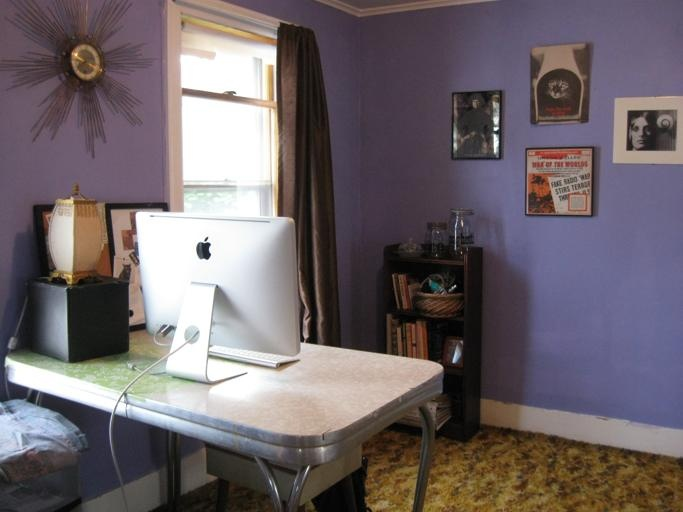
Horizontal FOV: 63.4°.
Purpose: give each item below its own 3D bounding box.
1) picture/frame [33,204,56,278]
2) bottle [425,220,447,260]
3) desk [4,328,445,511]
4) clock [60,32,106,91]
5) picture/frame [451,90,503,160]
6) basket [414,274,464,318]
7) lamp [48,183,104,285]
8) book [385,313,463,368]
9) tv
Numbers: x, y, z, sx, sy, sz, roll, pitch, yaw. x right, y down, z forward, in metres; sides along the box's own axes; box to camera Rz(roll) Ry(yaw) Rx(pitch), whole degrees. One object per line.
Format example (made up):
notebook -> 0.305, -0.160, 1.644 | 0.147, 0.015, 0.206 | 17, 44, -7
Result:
picture/frame -> -1.450, -0.102, 2.682 | 0.016, 0.307, 0.224 | -12, 0, -11
bottle -> 0.701, -0.126, 4.024 | 0.173, 0.238, 0.144 | -1, 12, -8
desk -> -0.443, 0.764, 2.329 | 1.607, 0.639, 0.798 | 5, 12, 18
clock -> -1.310, -0.964, 2.751 | 0.036, 0.238, 0.243 | -8, -30, 35
picture/frame -> 1.003, -0.965, 4.049 | 0.446, 0.621, 0.078 | 5, 9, 34
basket -> 0.728, 0.249, 4.038 | 0.340, 0.332, 0.354 | -2, 11, -1
lamp -> -1.222, -0.092, 2.526 | 0.225, 0.392, 0.222 | -1, 5, -39
book -> 0.605, 0.600, 4.059 | 0.488, 0.509, 0.355 | 3, 4, 40
tv -> -0.543, 0.131, 2.159 | 0.700, 0.637, 0.247 | 5, 12, 16
